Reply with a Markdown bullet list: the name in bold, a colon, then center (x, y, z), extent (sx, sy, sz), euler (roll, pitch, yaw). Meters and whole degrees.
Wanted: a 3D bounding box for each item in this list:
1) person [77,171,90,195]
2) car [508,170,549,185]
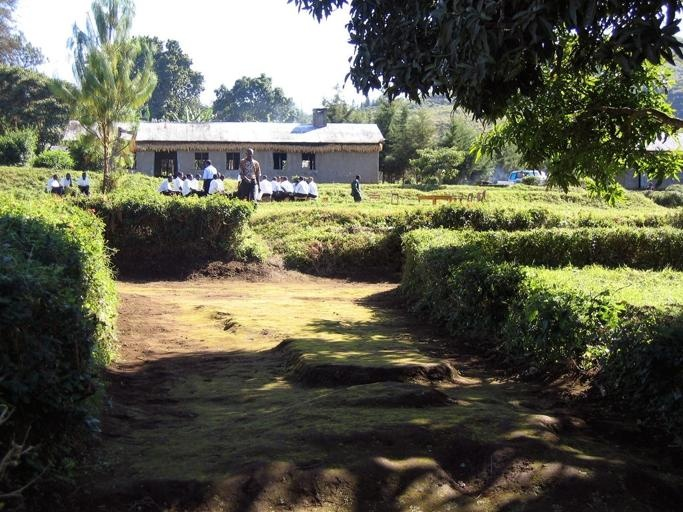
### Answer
- **person**: center (-11.559, -3.243, 29.871), extent (0.505, 0.895, 1.537), euler (-5, 10, -22)
- **car**: center (12.237, -5.264, 44.026), extent (2.171, 1.175, 9.759), euler (1, 10, 14)
